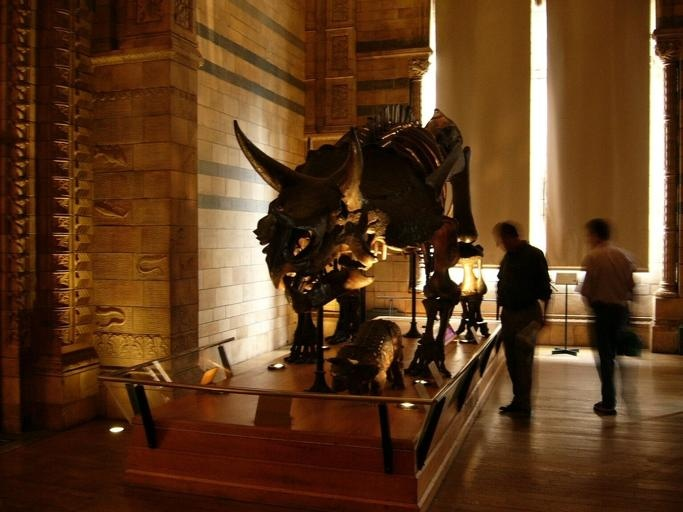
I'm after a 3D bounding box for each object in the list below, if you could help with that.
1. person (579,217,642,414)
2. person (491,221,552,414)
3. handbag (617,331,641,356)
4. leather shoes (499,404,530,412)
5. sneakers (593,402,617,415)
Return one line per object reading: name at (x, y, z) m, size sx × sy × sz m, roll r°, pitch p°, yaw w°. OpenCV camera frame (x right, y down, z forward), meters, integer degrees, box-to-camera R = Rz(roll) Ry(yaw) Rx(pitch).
person at (2.603, 0.637, 5.976) m, size 0.489 × 1.950 × 0.544 m, roll 1°, pitch 8°, yaw 18°
person at (1.784, 0.649, 6.003) m, size 0.519 × 1.947 × 0.359 m, roll 0°, pitch 8°, yaw 11°
handbag at (2.747, 0.835, 5.808) m, size 0.197 × 0.252 × 0.340 m, roll 2°, pitch 7°, yaw 22°
leather shoes at (1.767, 1.561, 6.231) m, size 0.318 × 0.103 × 0.106 m, roll 0°, pitch -4°, yaw 19°
sneakers at (2.662, 1.558, 6.189) m, size 0.108 × 0.074 × 0.230 m, roll -3°, pitch 3°, yaw -42°
